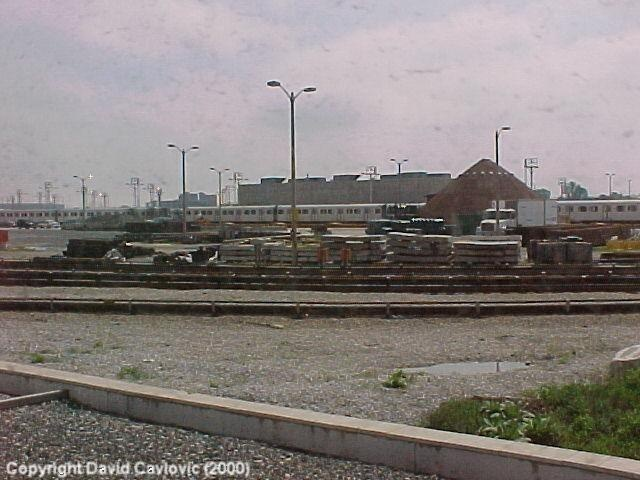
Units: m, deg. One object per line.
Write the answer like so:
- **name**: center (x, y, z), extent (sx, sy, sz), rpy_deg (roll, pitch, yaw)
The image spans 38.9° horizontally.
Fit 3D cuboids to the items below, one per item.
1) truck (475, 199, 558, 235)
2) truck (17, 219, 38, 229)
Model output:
- **truck**: center (12.948, -1.617, 58.978), extent (6.165, 2.820, 2.721), rpy_deg (0, 3, -1)
- **truck**: center (-44.266, -2.477, 137.032), extent (2.757, 1.218, 3.805), rpy_deg (-3, 5, -44)
